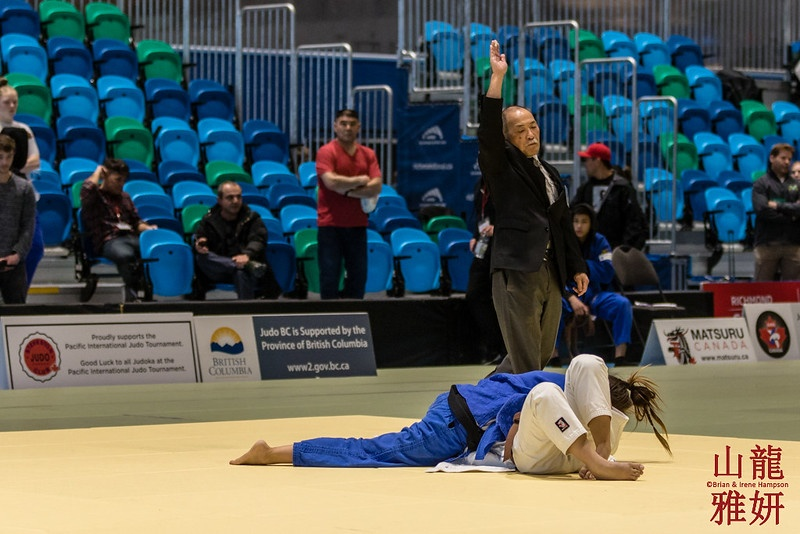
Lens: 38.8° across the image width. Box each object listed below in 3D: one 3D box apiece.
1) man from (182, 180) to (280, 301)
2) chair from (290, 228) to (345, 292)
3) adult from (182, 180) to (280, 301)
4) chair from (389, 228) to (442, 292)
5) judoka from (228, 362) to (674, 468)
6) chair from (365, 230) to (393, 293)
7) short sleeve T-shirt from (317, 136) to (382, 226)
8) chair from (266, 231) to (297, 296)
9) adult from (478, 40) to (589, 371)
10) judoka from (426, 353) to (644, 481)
[{"bbox_3d":[-1.804,-0.259,12.086,1.064,1.703,1.112,0,-4,-16],"label":"man"},{"bbox_3d":[-1.017,-0.074,12.464,0.593,0.788,0.660,1,-1,-12],"label":"chair"},{"bbox_3d":[-1.791,-0.227,12.092,1.064,1.703,1.112,0,-4,-16],"label":"adult"},{"bbox_3d":[0.178,-0.052,13.293,0.588,0.839,0.706,0,-10,-18],"label":"chair"},{"bbox_3d":[0.774,1.146,8.145,1.688,0.547,1.333,-1,-15,14],"label":"judoka"},{"bbox_3d":[-0.238,0.017,12.775,0.424,0.630,0.591,1,3,1],"label":"chair"},{"bbox_3d":[-0.526,-0.839,11.497,0.654,0.861,0.417,-2,9,-14],"label":"short sleeve T-shirt"},{"bbox_3d":[-1.285,-0.018,12.363,0.351,0.520,0.192,1,-1,-21],"label":"chair"},{"bbox_3d":[1.013,-0.229,9.121,1.155,2.249,0.588,12,-21,-37],"label":"adult"},{"bbox_3d":[1.120,1.104,8.289,1.113,0.939,1.818,10,-13,-28],"label":"judoka"}]
